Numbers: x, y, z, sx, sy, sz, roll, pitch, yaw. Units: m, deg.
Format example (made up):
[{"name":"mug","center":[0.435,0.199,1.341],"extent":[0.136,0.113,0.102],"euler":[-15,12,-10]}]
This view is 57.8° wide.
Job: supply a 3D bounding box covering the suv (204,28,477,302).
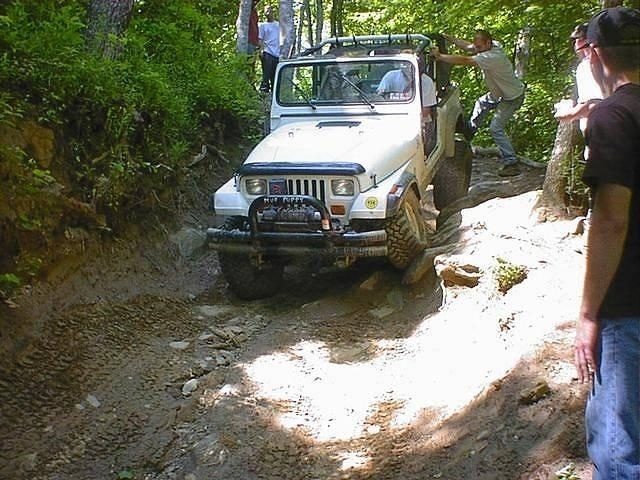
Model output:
[{"name":"suv","center":[0.351,-1.482,8.239],"extent":[2.133,2.920,4.768],"euler":[1,25,25]}]
